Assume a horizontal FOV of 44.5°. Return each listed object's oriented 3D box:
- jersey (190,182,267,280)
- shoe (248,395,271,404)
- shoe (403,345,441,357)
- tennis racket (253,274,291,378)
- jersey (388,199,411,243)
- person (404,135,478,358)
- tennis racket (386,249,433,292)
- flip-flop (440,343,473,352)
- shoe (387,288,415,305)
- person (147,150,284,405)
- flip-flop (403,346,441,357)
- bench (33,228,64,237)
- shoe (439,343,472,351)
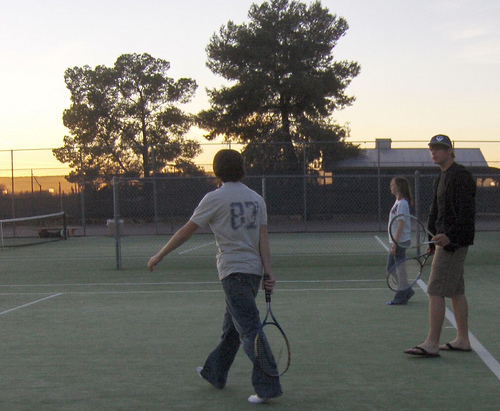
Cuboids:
[{"bbox_3d":[-0.162,0.272,6.037,0.891,0.961,0.338,-1,-10,-27],"label":"jersey"},{"bbox_3d":[0.093,1.882,5.998,0.210,0.103,0.076,-4,-2,14],"label":"shoe"},{"bbox_3d":[1.972,1.662,6.982,0.320,0.116,0.133,11,-18,2],"label":"shoe"},{"bbox_3d":[0.248,1.323,7.003,0.381,1.117,0.071,7,31,30],"label":"tennis racket"},{"bbox_3d":[2.318,0.177,9.266,0.293,0.585,0.508,-1,2,16],"label":"jersey"},{"bbox_3d":[2.355,0.419,7.330,0.691,2.517,1.207,-1,2,19],"label":"person"},{"bbox_3d":[2.616,1.068,10.041,0.505,0.051,0.928,31,-43,-8],"label":"tennis racket"},{"bbox_3d":[2.385,1.633,7.071,0.318,0.087,0.130,1,-8,12],"label":"flip-flop"},{"bbox_3d":[2.325,1.383,9.473,0.482,0.370,0.183,-2,-1,-1],"label":"shoe"},{"bbox_3d":[-0.173,0.680,6.261,0.963,2.492,1.118,-2,2,3],"label":"person"},{"bbox_3d":[2.004,1.661,6.970,0.284,0.084,0.113,7,-14,5],"label":"flip-flop"},{"bbox_3d":[-7.994,1.031,24.411,1.278,0.373,0.914,-3,2,-6],"label":"bench"},{"bbox_3d":[2.428,1.644,7.124,0.242,0.063,0.099,1,-7,7],"label":"shoe"}]
